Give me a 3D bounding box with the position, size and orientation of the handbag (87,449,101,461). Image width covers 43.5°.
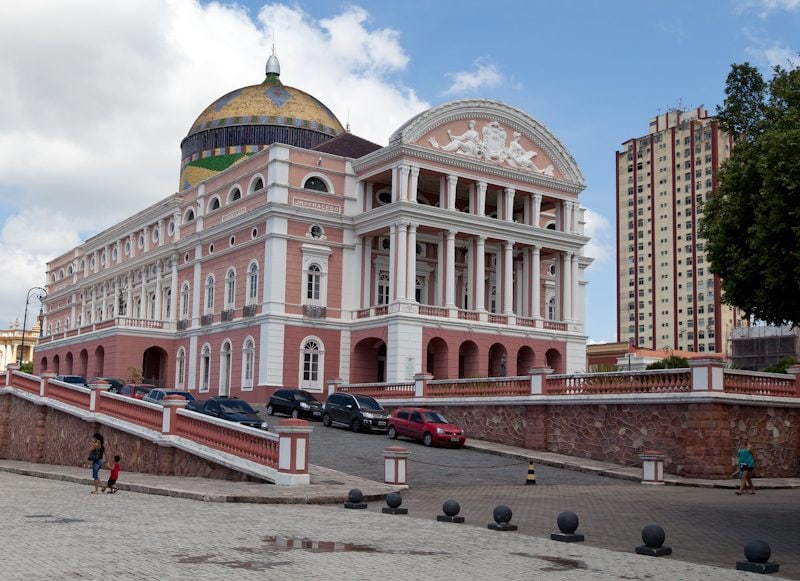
[{"bbox_3d":[-8.300,4.561,27.516,0.393,0.284,0.504,4,7,-1],"label":"handbag"}]
